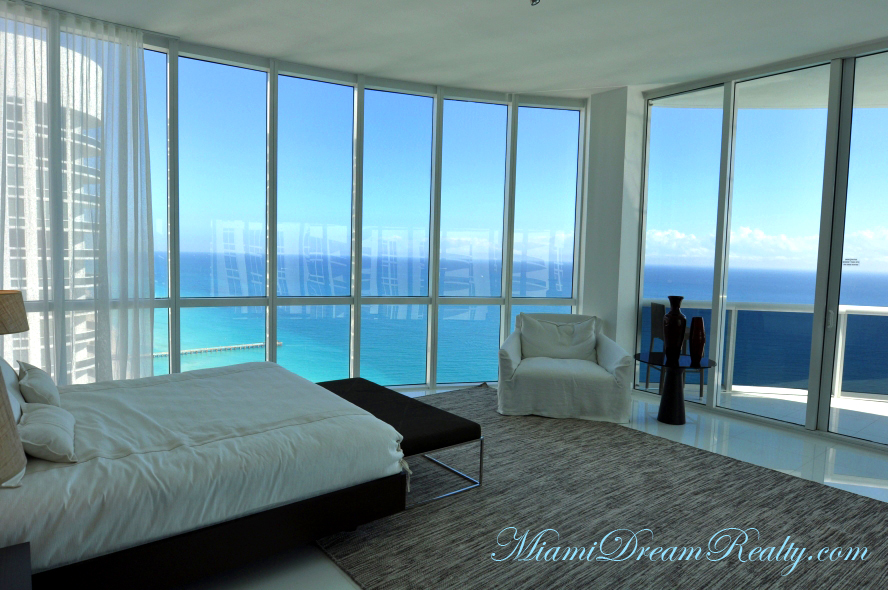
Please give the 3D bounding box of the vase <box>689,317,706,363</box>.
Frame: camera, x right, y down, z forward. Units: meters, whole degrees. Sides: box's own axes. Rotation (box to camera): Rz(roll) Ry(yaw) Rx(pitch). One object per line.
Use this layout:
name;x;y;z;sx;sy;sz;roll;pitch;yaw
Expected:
vase;2.646;0.491;6.401;0.146;0.494;0.307;0;7;21

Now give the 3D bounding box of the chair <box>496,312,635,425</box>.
chair;1.335;0.781;6.944;1.207;0.784;1.171;0;3;8

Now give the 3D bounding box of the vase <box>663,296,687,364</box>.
vase;2.427;0.387;6.428;0.198;0.733;0.213;0;7;19
